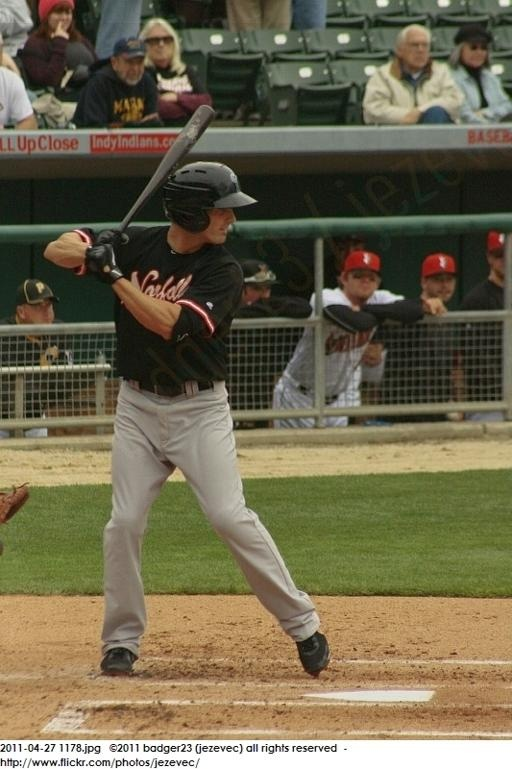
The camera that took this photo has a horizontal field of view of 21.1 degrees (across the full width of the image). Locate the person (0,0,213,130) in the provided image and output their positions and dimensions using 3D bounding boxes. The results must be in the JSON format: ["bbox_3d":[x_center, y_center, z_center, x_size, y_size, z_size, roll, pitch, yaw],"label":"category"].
[{"bbox_3d":[-1.228,-2.265,9.616,0.951,0.949,0.549,3,7,27],"label":"person"}]

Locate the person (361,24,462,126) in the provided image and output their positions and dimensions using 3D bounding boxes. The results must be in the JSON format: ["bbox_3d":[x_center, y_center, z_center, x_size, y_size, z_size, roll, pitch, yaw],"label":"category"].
[{"bbox_3d":[1.123,-2.253,9.916,0.655,0.755,0.708,-4,8,-32],"label":"person"}]

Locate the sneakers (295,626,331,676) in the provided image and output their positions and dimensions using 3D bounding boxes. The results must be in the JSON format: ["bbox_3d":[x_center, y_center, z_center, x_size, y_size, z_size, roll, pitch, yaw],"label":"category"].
[{"bbox_3d":[0.183,0.868,4.420,0.066,0.077,0.174,-27,34,20],"label":"sneakers"}]

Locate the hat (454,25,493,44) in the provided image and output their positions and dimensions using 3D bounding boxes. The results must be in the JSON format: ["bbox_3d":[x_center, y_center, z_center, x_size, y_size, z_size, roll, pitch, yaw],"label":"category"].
[{"bbox_3d":[1.613,-2.648,10.264,0.196,0.102,0.226,1,22,4],"label":"hat"}]

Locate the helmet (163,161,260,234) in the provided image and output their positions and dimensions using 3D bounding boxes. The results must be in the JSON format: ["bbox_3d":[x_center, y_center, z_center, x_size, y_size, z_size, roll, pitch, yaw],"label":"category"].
[{"bbox_3d":[-0.147,-0.617,4.468,0.295,0.197,0.210,-2,9,11],"label":"helmet"}]

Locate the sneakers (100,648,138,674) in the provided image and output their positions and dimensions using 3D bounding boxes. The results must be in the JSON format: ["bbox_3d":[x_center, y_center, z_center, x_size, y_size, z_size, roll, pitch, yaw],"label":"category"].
[{"bbox_3d":[-0.448,0.887,4.420,0.059,0.054,0.123,1,-27,-2],"label":"sneakers"}]

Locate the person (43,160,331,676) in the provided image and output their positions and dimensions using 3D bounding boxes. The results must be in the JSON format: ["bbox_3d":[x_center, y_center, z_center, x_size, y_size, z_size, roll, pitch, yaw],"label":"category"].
[{"bbox_3d":[-0.233,0.099,4.522,0.873,1.663,0.552,-1,7,-8],"label":"person"}]
